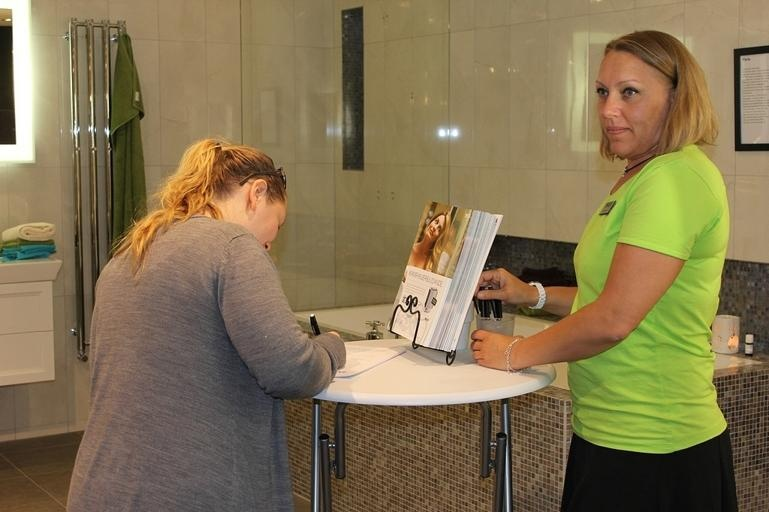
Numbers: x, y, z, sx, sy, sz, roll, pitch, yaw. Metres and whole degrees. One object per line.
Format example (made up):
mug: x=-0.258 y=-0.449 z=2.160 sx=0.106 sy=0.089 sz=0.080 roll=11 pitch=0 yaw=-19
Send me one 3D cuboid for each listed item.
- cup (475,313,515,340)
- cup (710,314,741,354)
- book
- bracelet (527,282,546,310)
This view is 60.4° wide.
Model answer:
cup: x=0.321 y=0.205 z=1.976 sx=0.081 sy=0.082 sz=0.073 roll=1 pitch=3 yaw=21
cup: x=1.706 y=0.390 z=3.327 sx=0.115 sy=0.181 sz=0.119 roll=0 pitch=6 yaw=0
book: x=0.157 y=0.061 z=1.848 sx=0.090 sy=0.405 sz=0.386 roll=13 pitch=4 yaw=-24
bracelet: x=0.467 y=0.121 z=2.012 sx=0.028 sy=0.074 sz=0.064 roll=1 pitch=-4 yaw=-13
